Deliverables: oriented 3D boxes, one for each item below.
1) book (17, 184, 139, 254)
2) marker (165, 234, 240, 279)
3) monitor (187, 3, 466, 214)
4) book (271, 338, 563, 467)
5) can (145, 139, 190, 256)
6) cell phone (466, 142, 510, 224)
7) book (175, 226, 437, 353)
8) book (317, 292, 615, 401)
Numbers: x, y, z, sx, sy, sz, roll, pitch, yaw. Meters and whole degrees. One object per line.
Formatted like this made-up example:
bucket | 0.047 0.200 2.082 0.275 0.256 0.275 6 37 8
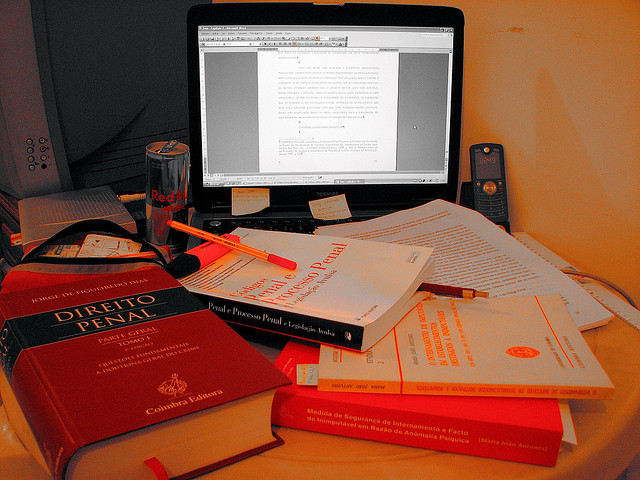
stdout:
book | -0.416 -0.038 0.912 0.187 0.080 0.186 -9 19 -29
marker | -0.165 0.019 0.765 0.043 0.015 0.135 28 34 21
monitor | 0.005 -0.247 0.991 0.512 0.388 0.386 1 38 -2
book | 0.099 0.190 0.563 0.302 0.060 0.041 3 16 8
can | -0.245 -0.076 0.953 0.098 0.200 0.115 -10 34 -27
cell phone | 0.331 -0.109 1.000 0.083 0.142 0.074 1 15 3
book | -0.018 0.055 0.683 0.220 0.048 0.173 11 30 21
book | 0.178 0.128 0.599 0.171 0.027 0.177 2 27 6
